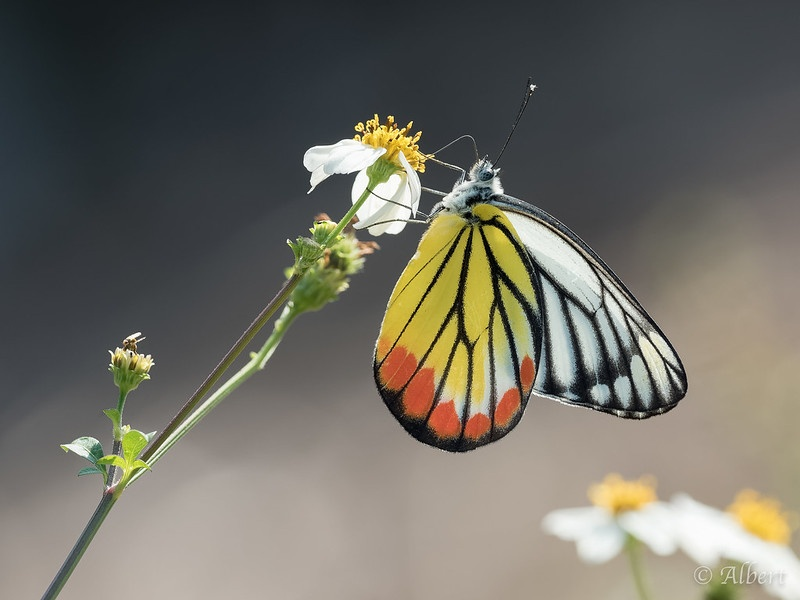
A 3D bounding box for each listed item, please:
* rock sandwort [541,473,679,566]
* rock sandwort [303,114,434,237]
[{"bbox_3d":[0.553,0.599,2.026,0.332,0.257,0.042,-12,-53,10],"label":"rock sandwort"},{"bbox_3d":[-0.034,-0.396,2.224,0.286,0.316,0.263,10,-97,-26],"label":"rock sandwort"}]
